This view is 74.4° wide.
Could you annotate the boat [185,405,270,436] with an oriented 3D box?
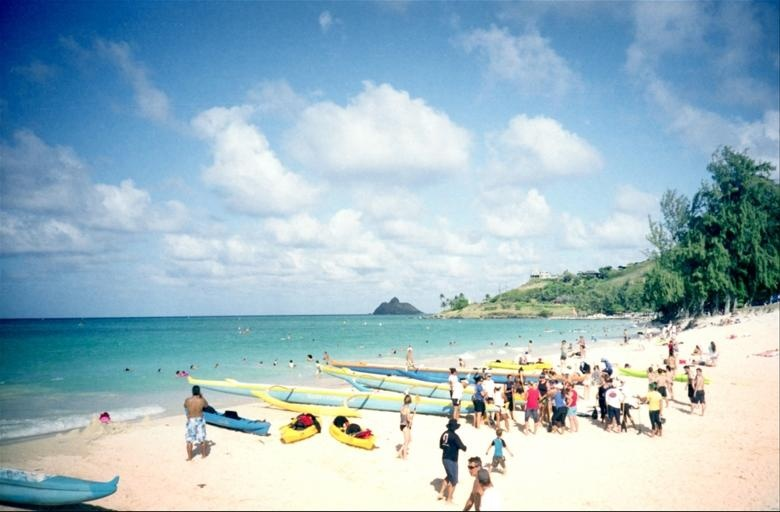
[{"bbox_3d":[-9.757,9.849,31.257,7.087,1.238,1.455,4,-3,22],"label":"boat"}]
